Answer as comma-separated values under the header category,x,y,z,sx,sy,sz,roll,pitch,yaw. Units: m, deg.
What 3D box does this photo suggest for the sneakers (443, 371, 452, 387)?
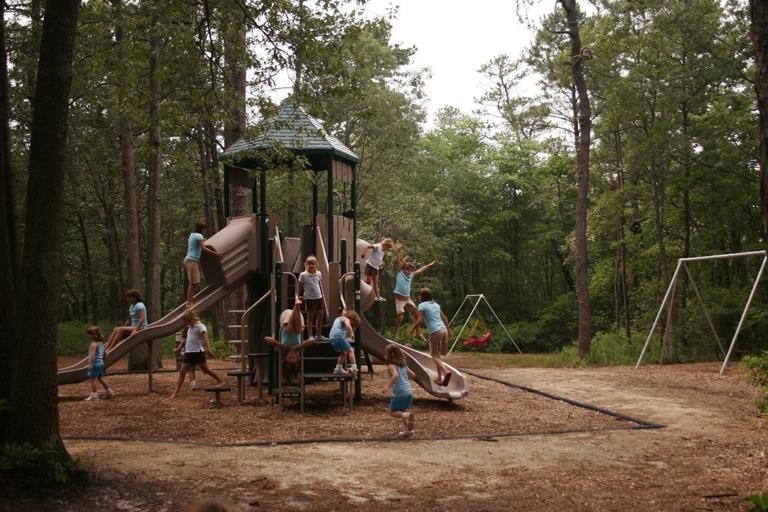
category,x,y,z,sx,sy,sz,roll,pitch,yaw
sneakers,1.557,3.021,20.443,0.161,0.401,0.160,9,11,-15

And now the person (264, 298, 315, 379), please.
category,x,y,z,sx,sy,sz,roll,pitch,yaw
person,-2.294,2.060,20.130,1.028,2.190,1.022,2,3,-24

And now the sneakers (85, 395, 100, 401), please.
category,x,y,z,sx,sy,sz,roll,pitch,yaw
sneakers,-7.258,3.527,20.788,0.376,0.174,0.132,1,-4,7

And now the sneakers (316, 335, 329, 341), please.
category,x,y,z,sx,sy,sz,roll,pitch,yaw
sneakers,-1.520,2.025,20.663,0.304,0.128,0.115,-2,-7,16

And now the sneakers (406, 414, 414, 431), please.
category,x,y,z,sx,sy,sz,roll,pitch,yaw
sneakers,0.563,3.646,18.376,0.144,0.359,0.197,-1,4,-7

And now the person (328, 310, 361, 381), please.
category,x,y,z,sx,sy,sz,roll,pitch,yaw
person,-0.915,2.073,20.278,0.805,1.579,0.784,9,-19,-12

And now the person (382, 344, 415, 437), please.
category,x,y,z,sx,sy,sz,roll,pitch,yaw
person,0.348,2.959,18.501,0.691,1.942,0.625,3,3,0
